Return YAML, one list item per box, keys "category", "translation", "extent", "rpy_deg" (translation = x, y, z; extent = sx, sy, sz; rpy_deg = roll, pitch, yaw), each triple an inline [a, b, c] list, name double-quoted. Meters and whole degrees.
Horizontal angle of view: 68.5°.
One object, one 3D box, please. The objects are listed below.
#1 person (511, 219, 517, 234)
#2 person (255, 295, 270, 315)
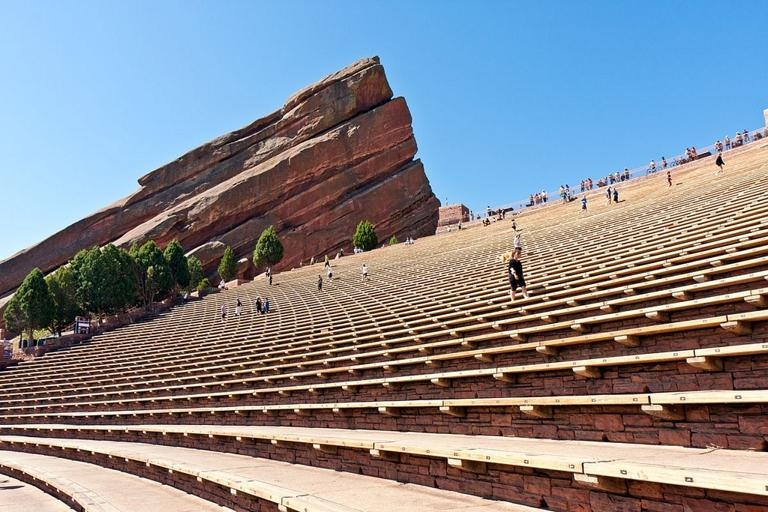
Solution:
- category: "person"
  translation: [7.478, -1.690, 32.178]
  extent: [0.425, 0.373, 1.172]
  rpy_deg: [-26, -11, 11]
- category: "person"
  translation: [-5.455, 2.236, 25.640]
  extent: [0.744, 0.923, 0.349]
  rpy_deg: [1, 1, 29]
